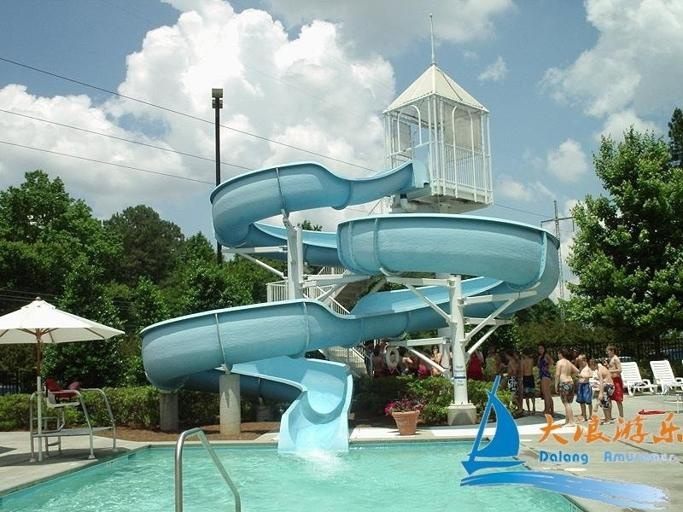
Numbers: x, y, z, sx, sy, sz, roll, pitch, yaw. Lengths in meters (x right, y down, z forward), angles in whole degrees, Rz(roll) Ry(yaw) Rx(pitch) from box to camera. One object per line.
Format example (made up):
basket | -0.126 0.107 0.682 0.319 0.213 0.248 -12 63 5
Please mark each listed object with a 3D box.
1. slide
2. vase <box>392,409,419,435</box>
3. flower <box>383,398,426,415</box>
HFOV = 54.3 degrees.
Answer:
slide | 0.196 1.334 20.229 9.991 6.526 8.035 -1 -7 1
vase | 1.615 4.189 16.980 0.648 0.459 0.644 3 -10 -21
flower | 1.491 3.864 17.074 0.756 0.279 0.720 12 -21 -39
